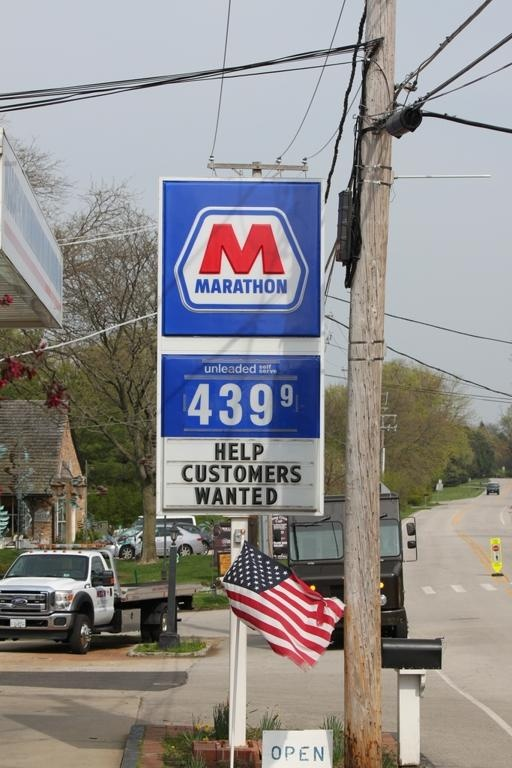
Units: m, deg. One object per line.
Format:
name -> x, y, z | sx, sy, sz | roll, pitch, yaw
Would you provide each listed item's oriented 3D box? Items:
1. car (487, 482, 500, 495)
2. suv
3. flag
car -> 23.296, 10.145, 107.877 | 0.849, 0.915, 2.024 | -1, -10, 5
suv -> 1.592, 3.077, 18.921 | 1.589, 2.130, 3.138 | -2, -11, 7
flag -> 0.174, 1.614, 8.082 | 0.864, 0.660, 0.345 | 32, -48, 10
